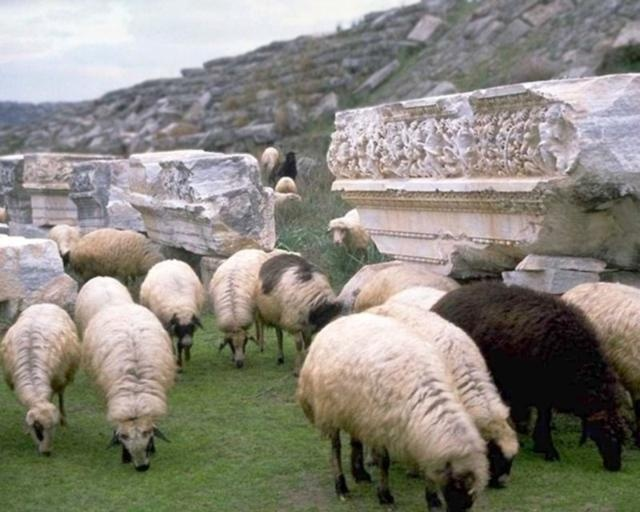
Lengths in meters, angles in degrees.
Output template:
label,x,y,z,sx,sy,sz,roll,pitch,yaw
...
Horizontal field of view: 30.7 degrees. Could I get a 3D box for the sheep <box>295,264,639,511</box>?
label,x,y,z,sx,sy,sz,roll,pitch,yaw
sheep,1.410,1.224,10.366,2.691,1.692,1.503,-6,10,-26

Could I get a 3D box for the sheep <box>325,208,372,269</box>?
label,x,y,z,sx,sy,sz,roll,pitch,yaw
sheep,0.421,-0.283,17.003,0.448,0.624,0.926,-14,-2,17
